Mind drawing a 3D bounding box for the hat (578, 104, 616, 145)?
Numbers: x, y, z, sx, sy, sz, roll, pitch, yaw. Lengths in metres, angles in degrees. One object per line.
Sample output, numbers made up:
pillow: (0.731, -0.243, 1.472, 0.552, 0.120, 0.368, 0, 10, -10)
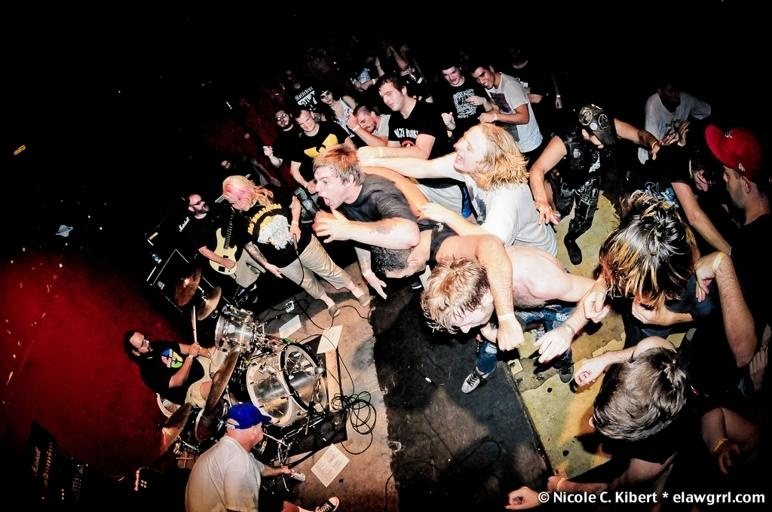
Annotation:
hat: (2.672, -1.659, 6.434, 0.418, 0.493, 0.372, -6, 44, 22)

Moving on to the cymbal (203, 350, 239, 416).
cymbal: (-2.279, 1.566, 6.920, 0.728, 0.127, 0.735, -62, 33, 3)

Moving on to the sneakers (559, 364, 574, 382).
sneakers: (2.297, 1.499, 6.441, 0.087, 0.182, 0.262, 8, 94, 25)

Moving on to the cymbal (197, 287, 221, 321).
cymbal: (-2.775, 0.737, 7.983, 0.512, 0.128, 0.517, -19, 54, 34)

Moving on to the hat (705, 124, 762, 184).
hat: (4.106, -1.234, 5.937, 0.493, 0.706, 0.249, -46, 6, -30)

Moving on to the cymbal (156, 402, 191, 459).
cymbal: (-3.135, 2.604, 7.461, 0.687, 0.167, 0.692, 8, 74, 58)

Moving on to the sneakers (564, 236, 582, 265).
sneakers: (2.628, -0.087, 7.113, 0.182, 0.158, 0.396, -11, 92, 15)

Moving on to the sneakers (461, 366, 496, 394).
sneakers: (1.143, 1.651, 6.583, 0.550, 0.230, 0.208, -38, 73, -1)
